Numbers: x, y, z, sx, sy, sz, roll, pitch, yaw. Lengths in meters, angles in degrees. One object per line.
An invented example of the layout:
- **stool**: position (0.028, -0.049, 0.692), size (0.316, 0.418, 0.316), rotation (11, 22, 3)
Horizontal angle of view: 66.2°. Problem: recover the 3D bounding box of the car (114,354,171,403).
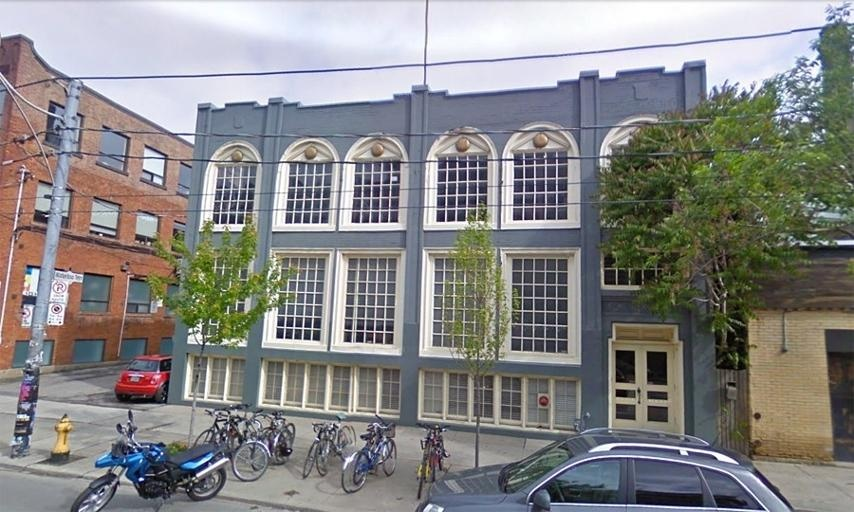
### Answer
- **car**: position (-12.370, 5.375, 28.776), size (1.621, 1.329, 2.784), rotation (2, -7, -4)
